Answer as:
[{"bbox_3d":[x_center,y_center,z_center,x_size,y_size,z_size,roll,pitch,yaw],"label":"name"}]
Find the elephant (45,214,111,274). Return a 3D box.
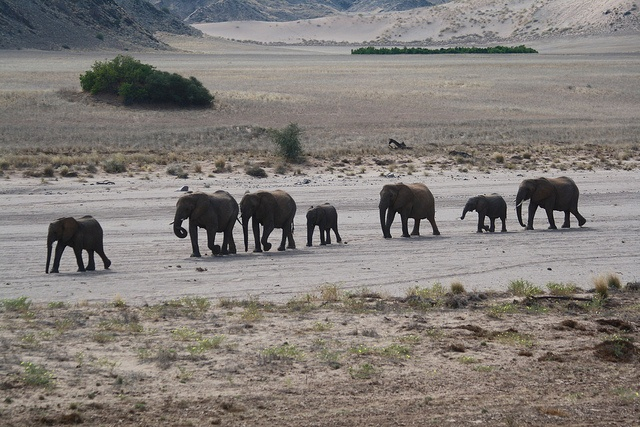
[{"bbox_3d":[-11.555,1.457,44.925,3.440,2.772,1.428,-1,-1,-39],"label":"elephant"}]

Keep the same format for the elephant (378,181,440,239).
[{"bbox_3d":[4.325,-0.361,49.988,3.788,3.011,1.904,0,0,-28],"label":"elephant"}]

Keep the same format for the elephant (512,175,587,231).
[{"bbox_3d":[12.312,-0.572,50.380,4.094,3.054,1.843,-2,9,-2],"label":"elephant"}]
